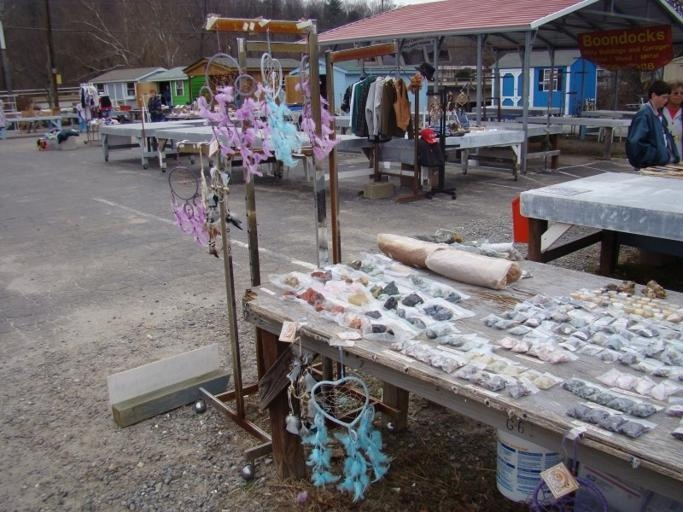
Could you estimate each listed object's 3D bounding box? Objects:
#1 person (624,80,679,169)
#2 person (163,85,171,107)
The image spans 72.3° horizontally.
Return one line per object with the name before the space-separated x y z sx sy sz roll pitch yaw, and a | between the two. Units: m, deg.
person | 3.851 -1.623 5.731 0.551 1.079 1.202 8 19 36
person | -9.590 -8.951 25.744 0.542 1.165 0.951 -10 17 -17
